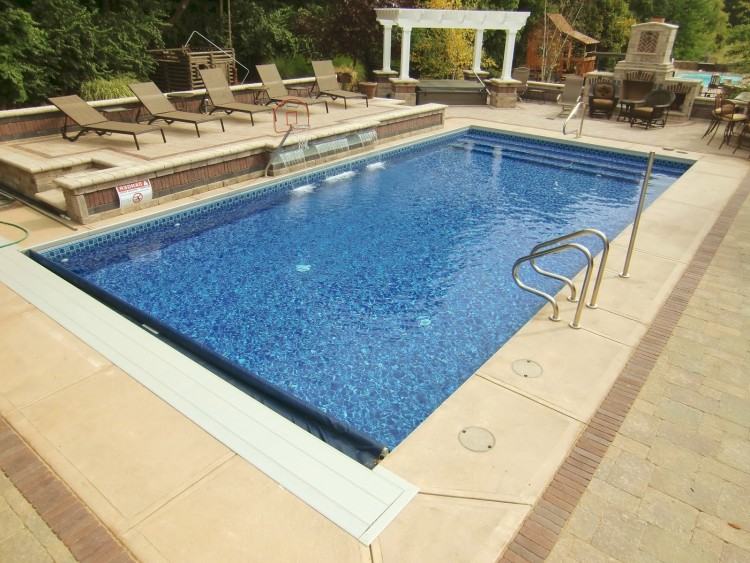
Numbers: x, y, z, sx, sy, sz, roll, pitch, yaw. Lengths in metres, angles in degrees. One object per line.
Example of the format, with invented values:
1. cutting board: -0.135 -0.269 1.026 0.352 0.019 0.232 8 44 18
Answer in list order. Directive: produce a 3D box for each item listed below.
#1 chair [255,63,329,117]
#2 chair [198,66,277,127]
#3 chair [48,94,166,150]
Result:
1. chair: -2.521 -5.460 13.374 1.674 0.772 0.529 26 59 23
2. chair: -3.618 -4.810 12.215 2.599 1.370 1.218 22 39 22
3. chair: -5.676 -3.397 10.182 0.767 0.562 1.892 -4 5 31
